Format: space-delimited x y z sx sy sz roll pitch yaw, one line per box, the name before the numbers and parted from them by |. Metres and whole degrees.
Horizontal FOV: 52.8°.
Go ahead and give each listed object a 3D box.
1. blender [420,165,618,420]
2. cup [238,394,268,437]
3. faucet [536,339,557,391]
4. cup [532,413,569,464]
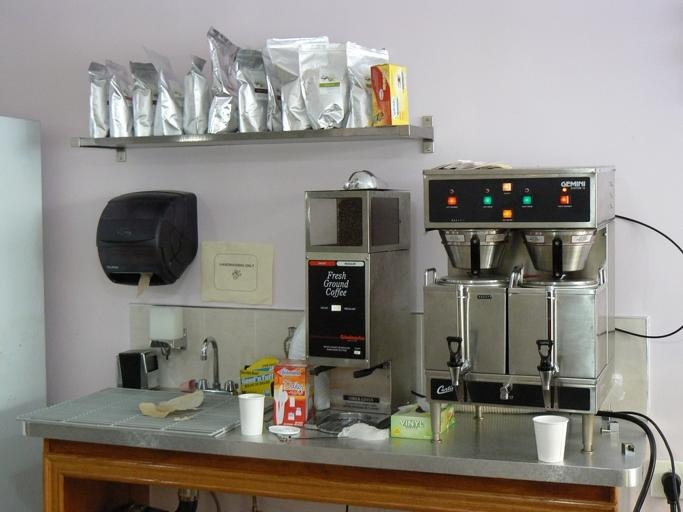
blender | 0.656 0.083 2.552 0.712 0.859 0.530 2 12 18
cup | -0.353 0.615 2.685 0.147 0.180 0.133 0 -4 0
faucet | 0.704 0.377 2.367 0.069 0.186 0.075 2 12 18
cup | 0.715 0.625 2.370 0.139 0.143 0.138 0 0 0
